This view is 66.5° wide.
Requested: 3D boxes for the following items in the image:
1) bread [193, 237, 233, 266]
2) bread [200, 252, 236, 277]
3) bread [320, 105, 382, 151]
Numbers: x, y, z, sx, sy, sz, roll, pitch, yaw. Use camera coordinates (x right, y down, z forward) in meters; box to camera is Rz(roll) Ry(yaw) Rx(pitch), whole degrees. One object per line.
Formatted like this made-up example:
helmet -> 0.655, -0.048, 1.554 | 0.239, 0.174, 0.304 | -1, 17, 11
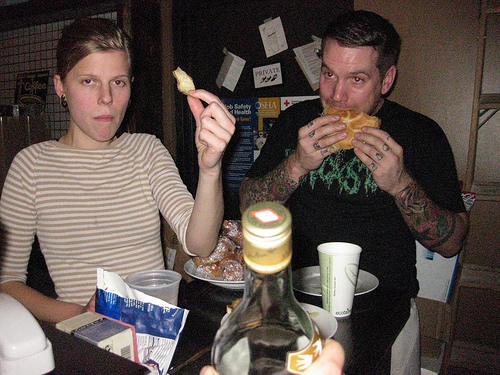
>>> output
bread -> -0.156, 0.272, 1.811 | 0.129, 0.044, 0.146 | 9, 25, 43
bread -> -0.143, 0.352, 1.766 | 0.116, 0.039, 0.093 | -15, 9, 3
bread -> 0.585, -0.321, 2.255 | 0.346, 0.271, 0.342 | 6, 18, 17
